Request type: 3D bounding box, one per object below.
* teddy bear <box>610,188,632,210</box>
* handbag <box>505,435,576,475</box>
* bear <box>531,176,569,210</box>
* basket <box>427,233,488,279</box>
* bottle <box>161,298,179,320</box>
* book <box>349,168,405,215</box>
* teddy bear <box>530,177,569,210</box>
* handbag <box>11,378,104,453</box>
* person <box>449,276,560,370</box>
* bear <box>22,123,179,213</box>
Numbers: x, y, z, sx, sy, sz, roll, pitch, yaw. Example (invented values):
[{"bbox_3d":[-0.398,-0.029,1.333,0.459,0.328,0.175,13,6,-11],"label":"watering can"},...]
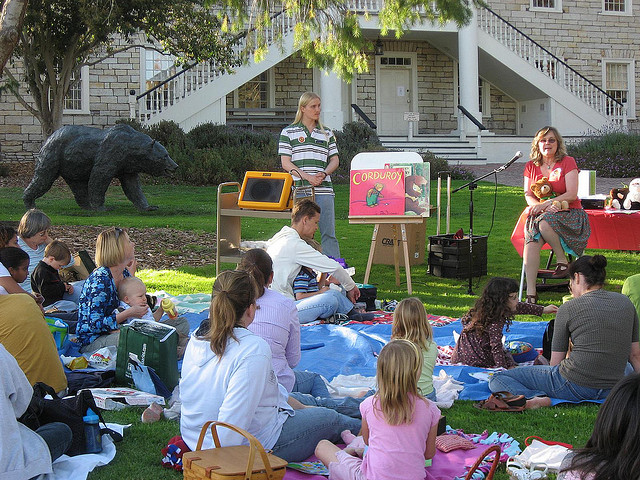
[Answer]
[{"bbox_3d":[4.372,-0.593,12.955,0.297,0.292,0.366,1,3,18],"label":"teddy bear"},{"bbox_3d":[1.771,1.735,7.184,0.419,0.215,0.650,2,3,34],"label":"handbag"},{"bbox_3d":[2.728,-0.530,10.704,0.221,0.412,0.333,-7,-24,-44],"label":"bear"},{"bbox_3d":[1.801,0.230,11.763,0.572,0.553,0.682,0,1,-39],"label":"basket"},{"bbox_3d":[-1.514,0.697,8.980,0.149,0.195,0.176,0,3,-6],"label":"bottle"},{"bbox_3d":[0.723,-0.602,11.308,0.582,0.638,0.367,-4,12,-7],"label":"book"},{"bbox_3d":[2.743,-0.542,10.675,0.247,0.434,0.357,-28,-1,-24],"label":"teddy bear"},{"bbox_3d":[-2.145,1.426,7.144,0.428,0.607,0.815,3,4,41],"label":"handbag"},{"bbox_3d":[1.777,0.952,8.629,0.918,1.198,0.781,3,14,15],"label":"person"},{"bbox_3d":[-4.163,-1.454,17.562,3.621,2.427,1.363,1,6,4],"label":"bear"}]
